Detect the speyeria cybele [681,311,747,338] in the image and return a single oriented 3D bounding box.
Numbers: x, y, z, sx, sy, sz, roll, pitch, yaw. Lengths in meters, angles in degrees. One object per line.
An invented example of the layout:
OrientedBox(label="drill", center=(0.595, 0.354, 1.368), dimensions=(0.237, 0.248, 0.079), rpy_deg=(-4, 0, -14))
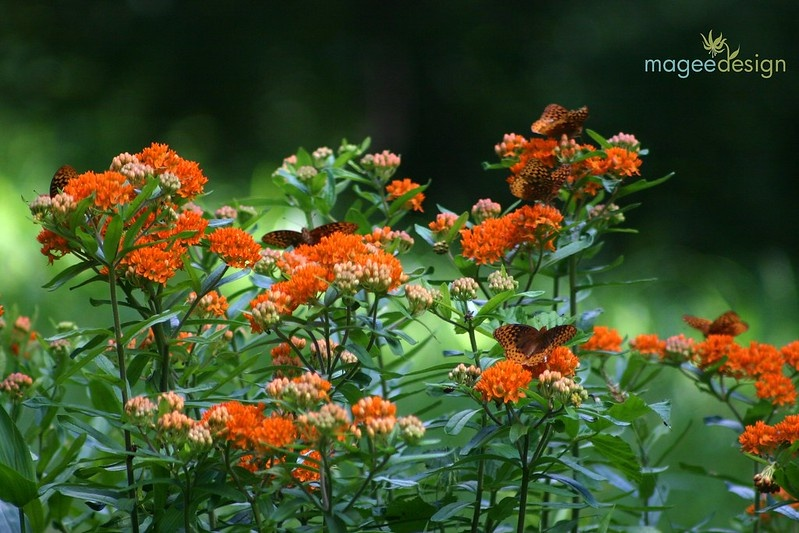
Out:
OrientedBox(label="speyeria cybele", center=(1.598, 0.282, 5.480), dimensions=(0.182, 0.096, 0.187), rpy_deg=(-26, -16, 19))

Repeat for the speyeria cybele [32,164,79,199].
OrientedBox(label="speyeria cybele", center=(-1.583, -0.414, 5.127), dimensions=(0.116, 0.192, 0.201), rpy_deg=(18, -20, -14))

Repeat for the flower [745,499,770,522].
OrientedBox(label="flower", center=(1.862, 1.237, 5.613), dimensions=(0.143, 0.075, 0.161), rpy_deg=(5, -5, -17))

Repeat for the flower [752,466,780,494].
OrientedBox(label="flower", center=(1.750, 1.002, 5.208), dimensions=(0.111, 0.111, 0.172), rpy_deg=(-13, -38, 16))

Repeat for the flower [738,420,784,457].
OrientedBox(label="flower", center=(1.734, 0.816, 5.267), dimensions=(0.174, 0.141, 0.171), rpy_deg=(-15, 2, -3))

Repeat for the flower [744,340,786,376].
OrientedBox(label="flower", center=(1.808, 0.444, 5.394), dimensions=(0.172, 0.171, 0.172), rpy_deg=(6, -6, -41))

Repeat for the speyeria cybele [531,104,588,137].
OrientedBox(label="speyeria cybele", center=(0.797, -0.702, 5.380), dimensions=(0.195, 0.130, 0.196), rpy_deg=(20, 4, -1))

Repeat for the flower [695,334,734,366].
OrientedBox(label="flower", center=(1.568, 0.402, 5.421), dimensions=(0.160, 0.129, 0.157), rpy_deg=(-4, -6, -1))
